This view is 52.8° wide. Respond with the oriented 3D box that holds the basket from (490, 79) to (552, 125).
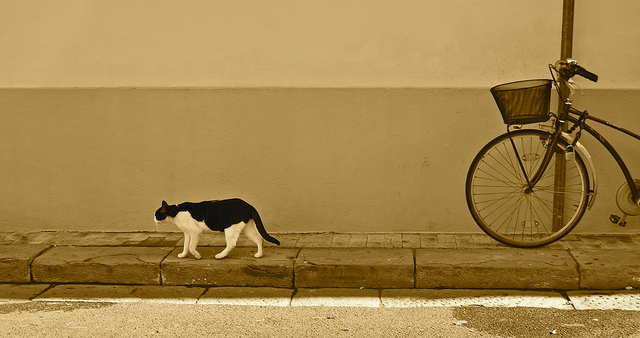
[{"bbox_3d":[2.941,-0.998,9.295,0.958,0.473,0.690,-3,-9,17],"label":"basket"}]
